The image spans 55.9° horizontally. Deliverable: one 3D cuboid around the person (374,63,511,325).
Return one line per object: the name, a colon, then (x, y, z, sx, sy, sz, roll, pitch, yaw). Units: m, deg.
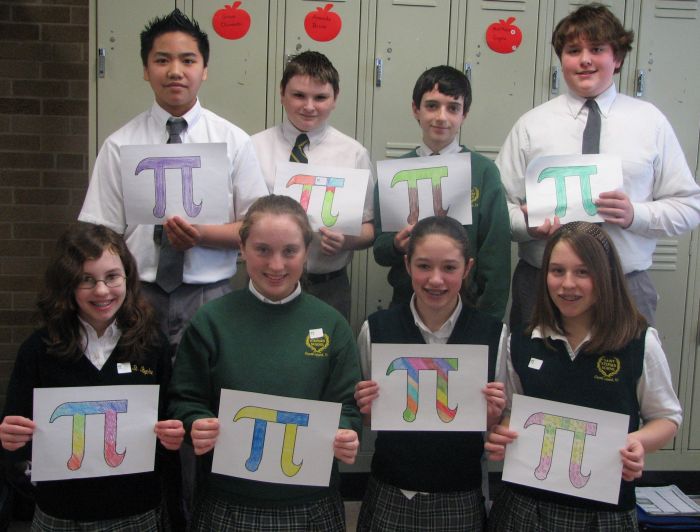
person: (0.397, -0.155, 3.065, 0.642, 1.451, 0.517, -1, 9, 5)
